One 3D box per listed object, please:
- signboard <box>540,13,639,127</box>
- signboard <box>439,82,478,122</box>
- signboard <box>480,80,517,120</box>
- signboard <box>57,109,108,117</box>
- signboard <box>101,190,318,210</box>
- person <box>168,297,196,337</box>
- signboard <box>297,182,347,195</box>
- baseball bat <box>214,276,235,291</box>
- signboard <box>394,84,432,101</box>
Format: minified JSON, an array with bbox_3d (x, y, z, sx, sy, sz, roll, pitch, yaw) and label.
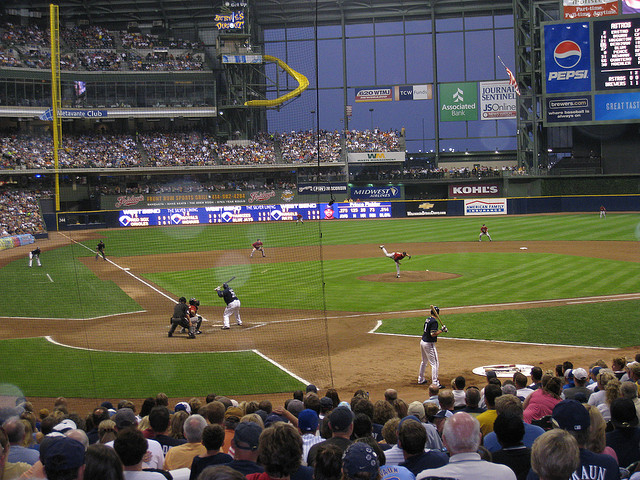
[{"bbox_3d":[24.269,-15.018,91.811,10.600,10.133,0.521,0,3,13],"label":"signboard"},{"bbox_3d":[14.579,-14.355,107.921,4.294,4.075,0.187,-4,10,-7],"label":"signboard"},{"bbox_3d":[18.638,-14.253,106.738,4.341,4.130,0.206,0,2,10],"label":"signboard"},{"bbox_3d":[-23.273,-12.452,102.510,4.437,0.585,0.920,-2,0,-29],"label":"signboard"},{"bbox_3d":[-11.370,-3.961,101.826,19.748,1.247,1.849,-2,0,-5],"label":"signboard"},{"bbox_3d":[-7.978,4.478,59.857,1.418,1.657,0.770,-2,1,-8],"label":"person"},{"bbox_3d":[0.286,-4.922,99.362,4.691,1.263,0.088,-1,-9,5],"label":"signboard"},{"bbox_3d":[-6.132,2.854,66.777,1.514,0.126,0.158,-32,8,-22],"label":"baseball bat"},{"bbox_3d":[10.002,-15.453,109.113,3.919,1.517,0.564,-2,1,8],"label":"signboard"}]
